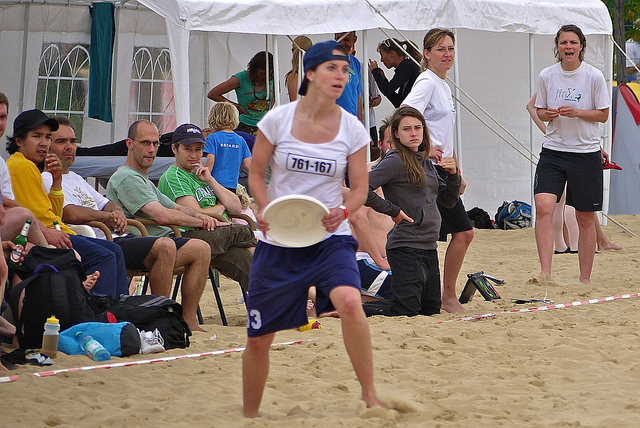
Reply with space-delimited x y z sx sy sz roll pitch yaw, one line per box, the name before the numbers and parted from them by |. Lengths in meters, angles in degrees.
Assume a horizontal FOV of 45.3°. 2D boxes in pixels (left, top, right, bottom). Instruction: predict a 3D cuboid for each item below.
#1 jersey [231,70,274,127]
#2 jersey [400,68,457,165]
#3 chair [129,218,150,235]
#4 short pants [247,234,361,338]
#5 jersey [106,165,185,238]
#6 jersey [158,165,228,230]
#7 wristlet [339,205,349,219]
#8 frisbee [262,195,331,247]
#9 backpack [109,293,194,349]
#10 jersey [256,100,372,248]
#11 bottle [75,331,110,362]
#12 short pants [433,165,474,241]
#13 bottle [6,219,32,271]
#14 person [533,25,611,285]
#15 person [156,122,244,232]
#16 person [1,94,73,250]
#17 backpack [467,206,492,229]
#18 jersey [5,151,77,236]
jersey | -0.880 -1.662 11.355 0.751 1.000 0.532 3 33 2
jersey | 1.143 -0.962 7.449 0.314 0.803 0.846 2 3 39
chair | -1.733 0.122 7.421 0.157 0.225 0.164 -2 3 7
short pants | -0.168 0.300 5.317 0.830 0.816 0.417 -7 22 -30
jersey | -1.886 -0.164 7.671 0.526 0.704 0.726 6 1 -2
jersey | -1.247 -0.171 7.973 0.712 0.739 0.399 -5 -4 -42
wristlet | 0.153 -0.012 5.146 0.017 0.064 0.066 -26 29 -15
frisbee | -0.161 0.038 5.090 0.365 0.368 0.088 27 38 -17
backpack | -1.468 0.890 6.660 0.577 0.260 0.448 17 10 16
jersey | -0.079 -0.289 5.298 0.768 0.918 0.507 7 14 2
bottle | -1.856 1.096 6.250 0.155 0.161 0.462 -4 22 -37
short pants | 1.306 0.051 7.453 0.376 0.418 0.339 -1 10 -2
bottle | -2.471 0.257 6.317 0.141 0.411 0.301 -1 10 -5
person | 2.840 -0.648 8.805 0.792 2.964 1.299 2 10 16
person | -1.101 -0.390 8.272 0.982 1.434 1.020 0 2 26
person | -2.746 -0.511 7.377 0.541 1.318 2.757 -4 11 -19
backpack | 2.967 0.075 14.240 0.462 0.226 0.601 4 4 11
jersey | -2.501 -0.175 6.852 0.527 0.755 0.430 -5 11 -25
